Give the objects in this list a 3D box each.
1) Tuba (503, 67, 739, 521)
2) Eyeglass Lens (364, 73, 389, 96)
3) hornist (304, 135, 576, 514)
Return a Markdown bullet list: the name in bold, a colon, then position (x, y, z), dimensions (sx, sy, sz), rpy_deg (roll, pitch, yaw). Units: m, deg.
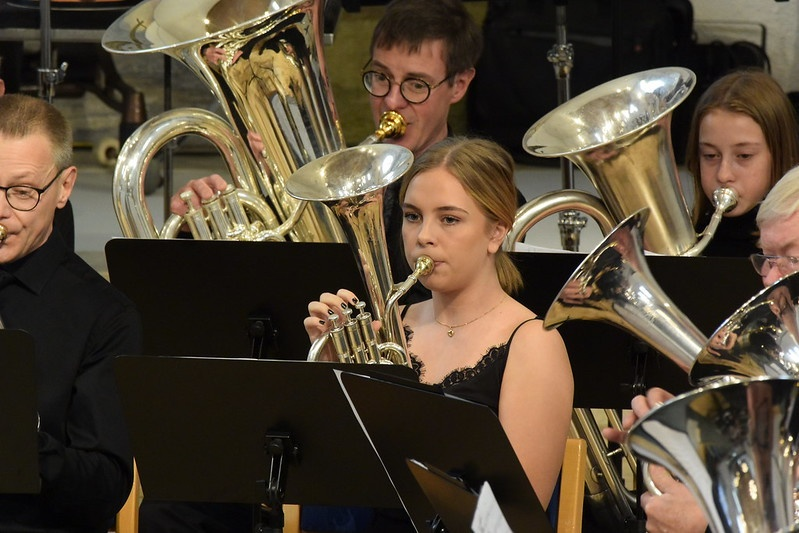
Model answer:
- **Tuba**: position (0.877, -0.345, 3.422), dimensions (0.533, 1.020, 0.994), rpy_deg (-21, 29, 1)
- **Eyeglass Lens**: position (-0.096, -0.789, 3.869), dimensions (0.128, 0.053, 0.122), rpy_deg (6, 5, -45)
- **hornist**: position (0.286, 0.125, 2.983), dimensions (0.546, 1.664, 0.861), rpy_deg (-5, 16, 24)
